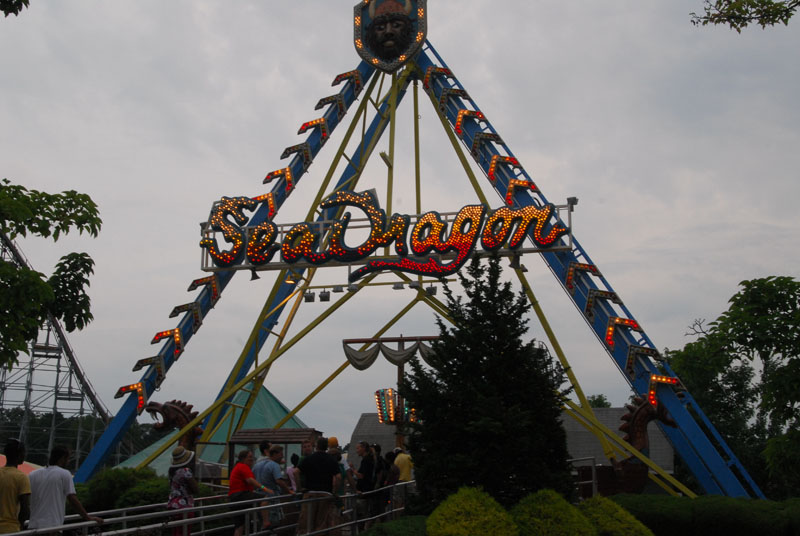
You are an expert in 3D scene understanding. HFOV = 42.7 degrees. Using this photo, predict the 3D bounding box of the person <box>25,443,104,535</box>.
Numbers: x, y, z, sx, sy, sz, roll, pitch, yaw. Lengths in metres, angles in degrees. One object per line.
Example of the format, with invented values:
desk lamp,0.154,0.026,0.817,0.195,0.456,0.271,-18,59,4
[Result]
person,-8.094,5.291,24.227,1.351,2.132,0.918,8,-30,-18
